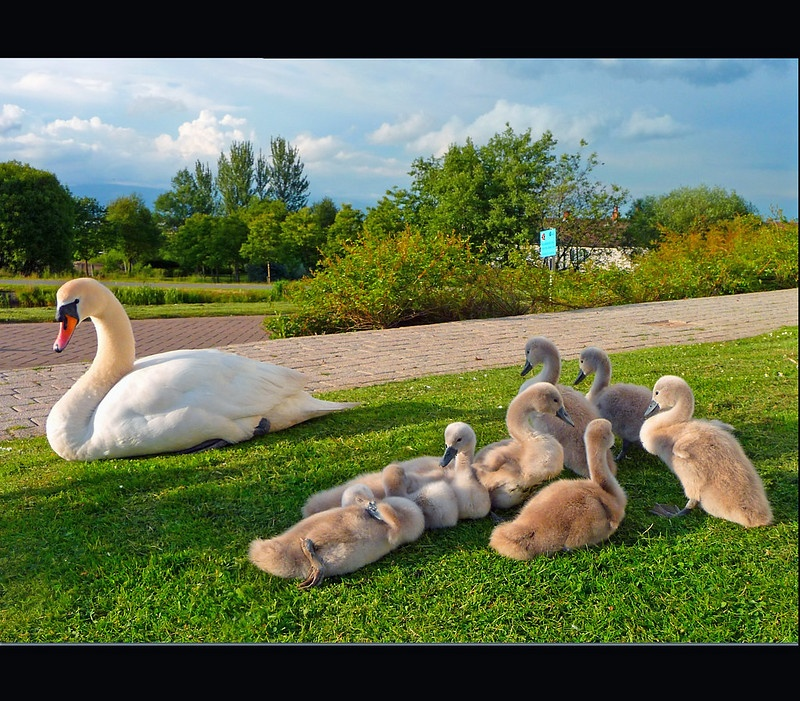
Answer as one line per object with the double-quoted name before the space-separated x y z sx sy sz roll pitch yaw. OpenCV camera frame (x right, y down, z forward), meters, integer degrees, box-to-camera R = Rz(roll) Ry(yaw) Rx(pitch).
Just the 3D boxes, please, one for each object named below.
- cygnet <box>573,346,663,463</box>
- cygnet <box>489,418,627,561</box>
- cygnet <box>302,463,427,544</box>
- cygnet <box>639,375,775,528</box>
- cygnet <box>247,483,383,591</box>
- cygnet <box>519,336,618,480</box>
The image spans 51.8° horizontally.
"cygnet" 1.566 0.365 5.997 0.383 0.799 0.953 0 6 -38
"cygnet" 0.937 0.814 4.856 0.850 0.741 0.557 -12 18 -19
"cygnet" -0.258 0.861 4.989 0.577 0.427 0.440 -9 11 -1
"cygnet" 1.916 0.634 5.261 0.594 0.888 1.112 2 3 -28
"cygnet" -0.374 1.033 4.696 0.863 0.412 0.355 -19 23 -21
"cygnet" 1.193 0.413 5.863 0.754 1.057 0.397 -2 -2 39
